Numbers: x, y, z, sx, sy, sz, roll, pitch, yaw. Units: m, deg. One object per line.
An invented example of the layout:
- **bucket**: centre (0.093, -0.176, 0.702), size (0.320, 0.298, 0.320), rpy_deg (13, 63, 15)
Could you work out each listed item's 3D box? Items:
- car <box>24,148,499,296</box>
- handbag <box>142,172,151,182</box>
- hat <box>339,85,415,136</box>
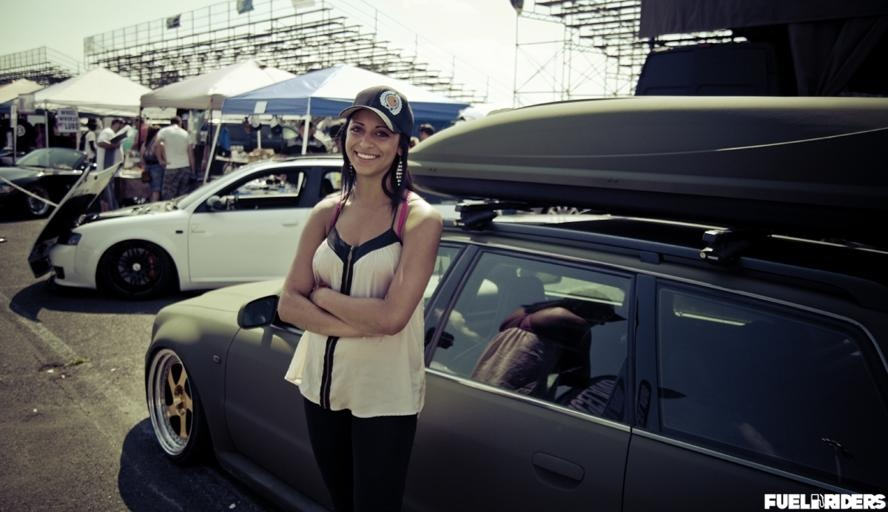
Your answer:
- **car**: centre (-2.821, -0.290, 8.209), size (4.914, 1.604, 2.198), rpy_deg (1, 4, -4)
- **handbag**: centre (-6.110, -1.608, 11.736), size (0.152, 0.171, 0.196), rpy_deg (-1, 3, -17)
- **hat**: centre (-0.321, -0.724, 2.854), size (0.241, 0.174, 0.323), rpy_deg (25, 4, 23)
